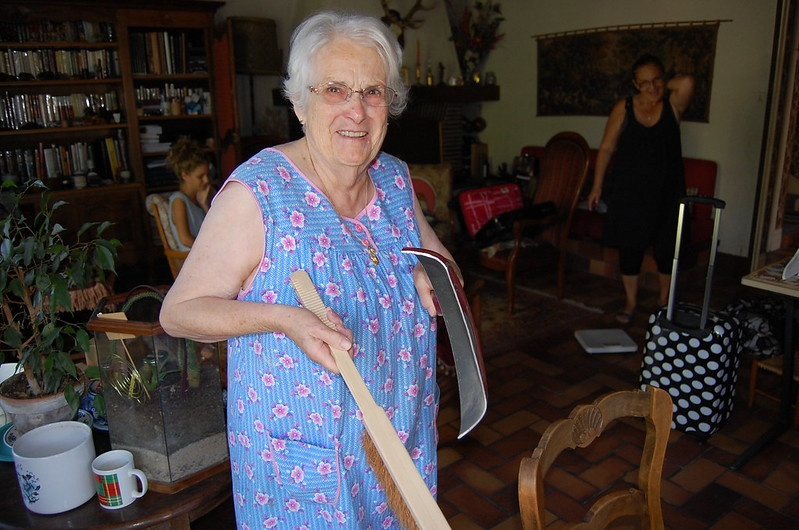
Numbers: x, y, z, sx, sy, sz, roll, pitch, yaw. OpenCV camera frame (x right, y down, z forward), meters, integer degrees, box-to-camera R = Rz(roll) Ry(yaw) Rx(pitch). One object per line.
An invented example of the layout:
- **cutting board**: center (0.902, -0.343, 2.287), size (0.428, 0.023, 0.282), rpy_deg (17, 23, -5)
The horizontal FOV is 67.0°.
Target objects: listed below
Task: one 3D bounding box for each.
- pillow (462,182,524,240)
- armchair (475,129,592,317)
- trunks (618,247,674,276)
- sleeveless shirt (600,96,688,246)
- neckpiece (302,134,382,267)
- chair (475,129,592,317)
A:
- **pillow**: center (0.902, -0.592, 6.107), size (0.551, 0.578, 0.130), rpy_deg (-8, -6, -22)
- **armchair**: center (1.156, -0.433, 5.437), size (0.893, 1.491, 0.804), rpy_deg (-8, 23, -17)
- **trunks**: center (1.996, -0.030, 4.882), size (0.236, 0.213, 0.095), rpy_deg (-1, 0, 6)
- **sleeveless shirt**: center (1.918, -0.703, 4.740), size (0.545, 1.304, 0.425), rpy_deg (1, 5, -8)
- **neckpiece**: center (-0.183, -0.258, 1.937), size (0.216, 0.302, 0.234), rpy_deg (1, 10, 7)
- **chair**: center (1.161, -0.415, 5.412), size (0.889, 1.474, 0.811), rpy_deg (-4, 22, -8)
